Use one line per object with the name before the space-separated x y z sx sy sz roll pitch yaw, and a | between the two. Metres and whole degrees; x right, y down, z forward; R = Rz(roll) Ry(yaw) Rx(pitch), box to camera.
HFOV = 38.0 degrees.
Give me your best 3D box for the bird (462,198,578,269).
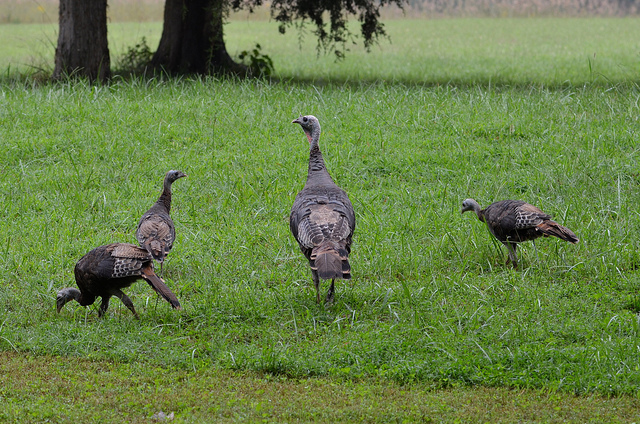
bird | 3.594 0.384 16.990 0.645 1.379 2.345 -6 3 -44
